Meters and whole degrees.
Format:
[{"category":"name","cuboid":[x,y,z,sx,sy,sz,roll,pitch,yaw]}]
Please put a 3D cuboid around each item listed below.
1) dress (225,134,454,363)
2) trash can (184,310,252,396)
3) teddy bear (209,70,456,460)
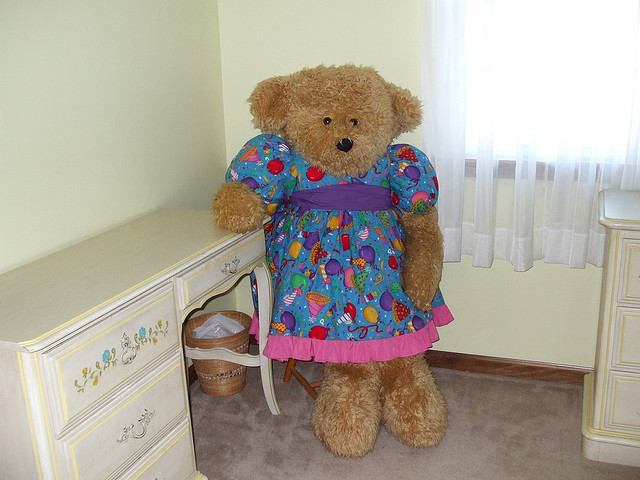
[{"category":"dress","cuboid":[0.104,0.043,2.293,0.887,1.084,0.614,-4,5,-7]},{"category":"trash can","cuboid":[-0.511,0.577,2.546,0.347,0.360,0.355,5,16,13]},{"category":"teddy bear","cuboid":[0.074,0.034,2.504,0.962,1.775,0.668,-2,-10,-8]}]
